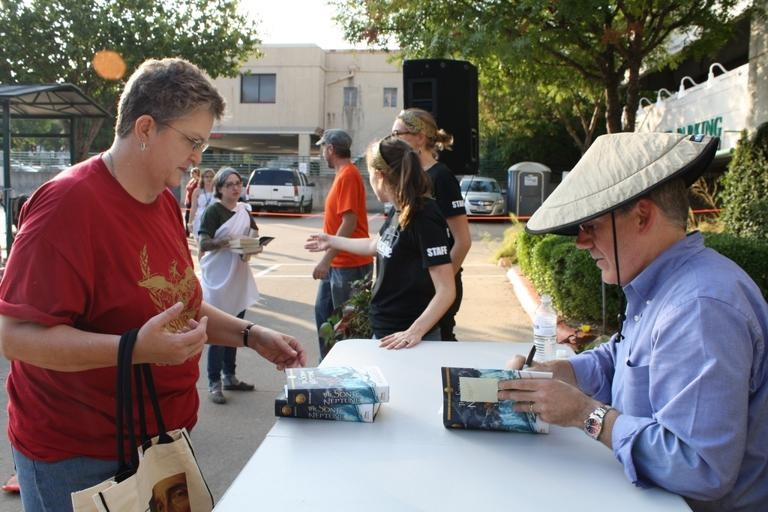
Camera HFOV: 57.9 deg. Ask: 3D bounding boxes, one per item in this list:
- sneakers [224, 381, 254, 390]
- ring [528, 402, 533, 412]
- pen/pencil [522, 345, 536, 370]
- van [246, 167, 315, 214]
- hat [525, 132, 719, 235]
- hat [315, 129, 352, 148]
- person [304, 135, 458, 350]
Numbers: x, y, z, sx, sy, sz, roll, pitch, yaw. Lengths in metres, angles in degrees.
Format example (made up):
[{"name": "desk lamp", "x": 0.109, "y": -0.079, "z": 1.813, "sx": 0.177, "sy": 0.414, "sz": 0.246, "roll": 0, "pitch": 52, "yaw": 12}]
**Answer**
[{"name": "sneakers", "x": -1.392, "y": 1.245, "z": 6.687, "sx": 0.285, "sy": 0.110, "sz": 0.106, "roll": 1, "pitch": 4, "yaw": -10}, {"name": "ring", "x": 0.700, "y": 0.715, "z": 3.302, "sx": 0.016, "sy": 0.043, "sz": 0.036, "roll": 5, "pitch": -17, "yaw": -4}, {"name": "pen/pencil", "x": 0.809, "y": 0.563, "z": 3.863, "sx": 0.015, "sy": 0.117, "sz": 0.009, "roll": 15, "pitch": -11, "yaw": 33}, {"name": "van", "x": -3.646, "y": -2.433, "z": 25.457, "sx": 1.381, "sy": 1.065, "sz": 2.690, "roll": 1, "pitch": 11, "yaw": 7}, {"name": "hat", "x": 1.114, "y": -0.377, "z": 3.285, "sx": 0.682, "sy": 0.262, "sz": 0.546, "roll": -21, "pitch": 0, "yaw": 11}, {"name": "hat", "x": -0.572, "y": -1.171, "z": 6.904, "sx": 0.416, "sy": 0.223, "sz": 0.320, "roll": 4, "pitch": 12, "yaw": 23}, {"name": "person", "x": 0.164, "y": -0.190, "z": 5.557, "sx": 1.041, "sy": 2.641, "sz": 1.331, "roll": -1, "pitch": 10, "yaw": 6}]
